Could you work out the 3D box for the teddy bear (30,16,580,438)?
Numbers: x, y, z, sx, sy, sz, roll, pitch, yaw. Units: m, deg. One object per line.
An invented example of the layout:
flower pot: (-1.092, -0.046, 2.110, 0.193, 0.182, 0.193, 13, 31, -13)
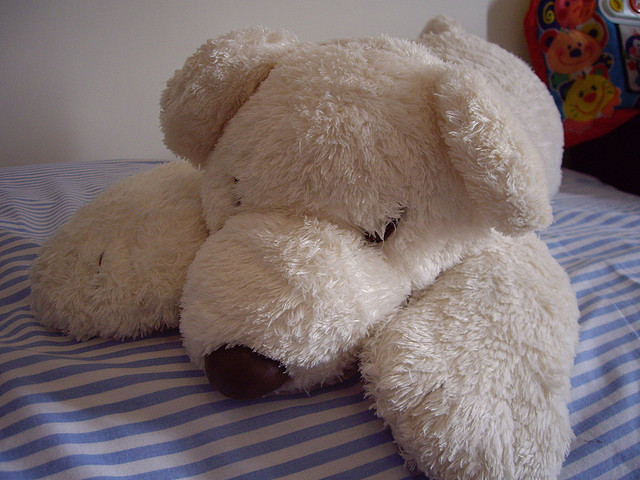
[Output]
teddy bear: (0.102, -0.037, 1.225, 0.888, 0.428, 0.866, 19, 39, 28)
